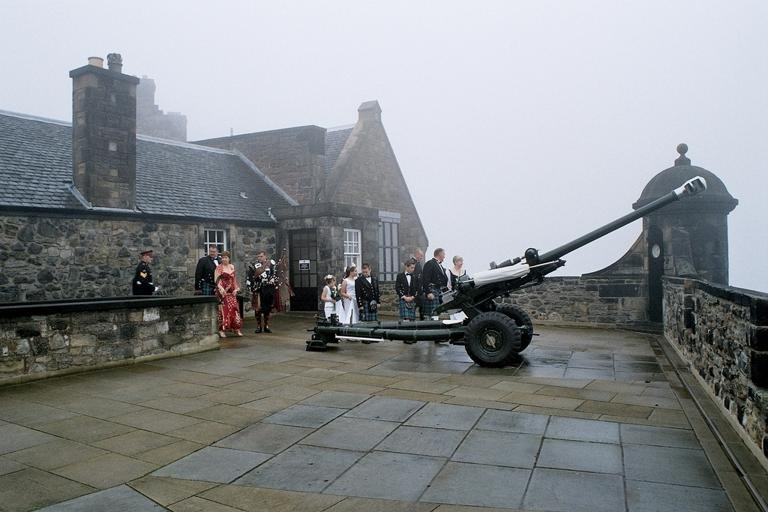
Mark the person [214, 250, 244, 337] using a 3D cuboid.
[{"bbox_3d":[-3.897,0.961,12.895,0.559,2.185,0.726,0,8,7],"label":"person"}]

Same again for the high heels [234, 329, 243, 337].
[{"bbox_3d":[-3.699,1.933,13.331,0.114,0.126,0.302,-2,0,-37],"label":"high heels"}]

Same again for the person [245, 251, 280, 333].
[{"bbox_3d":[-3.218,0.948,14.029,0.776,2.206,1.131,-2,8,-11],"label":"person"}]

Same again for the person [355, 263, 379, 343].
[{"bbox_3d":[-0.398,0.852,12.601,0.547,1.398,0.617,-2,8,-11],"label":"person"}]
